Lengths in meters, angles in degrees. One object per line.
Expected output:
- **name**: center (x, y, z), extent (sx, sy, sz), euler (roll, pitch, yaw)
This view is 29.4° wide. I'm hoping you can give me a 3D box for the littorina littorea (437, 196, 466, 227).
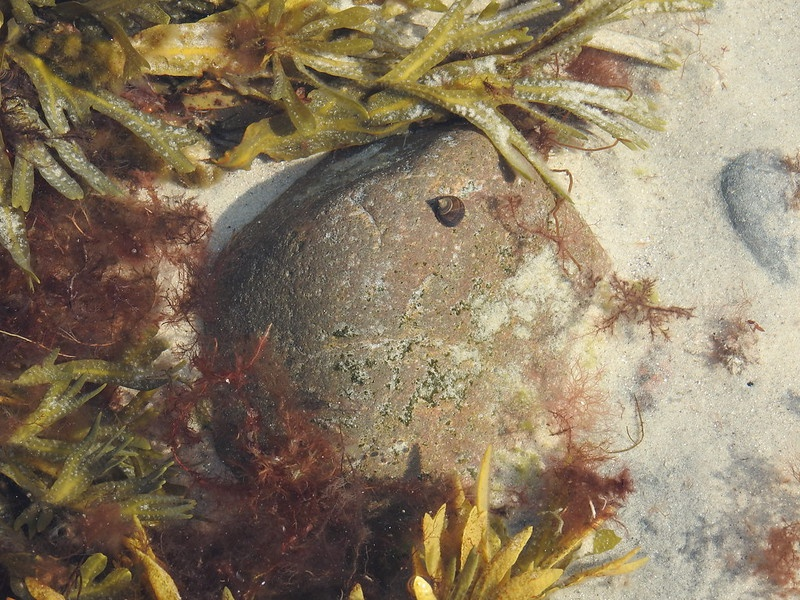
- **littorina littorea**: center (0.328, -0.583, 9.788), extent (0.196, 0.151, 0.154), euler (1, 70, -6)
